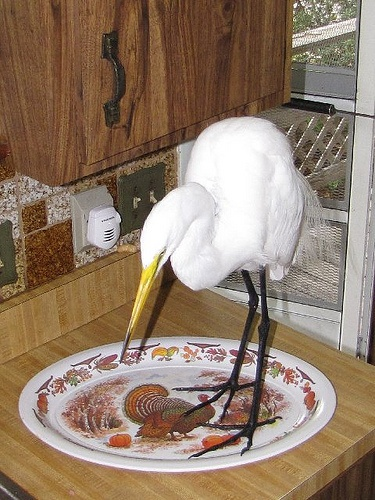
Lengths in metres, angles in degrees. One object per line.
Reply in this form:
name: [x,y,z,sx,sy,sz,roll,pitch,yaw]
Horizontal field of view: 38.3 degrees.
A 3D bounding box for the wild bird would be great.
wild bird: [0.083,0.056,0.913,0.149,0.509,0.568,11,28,31]
